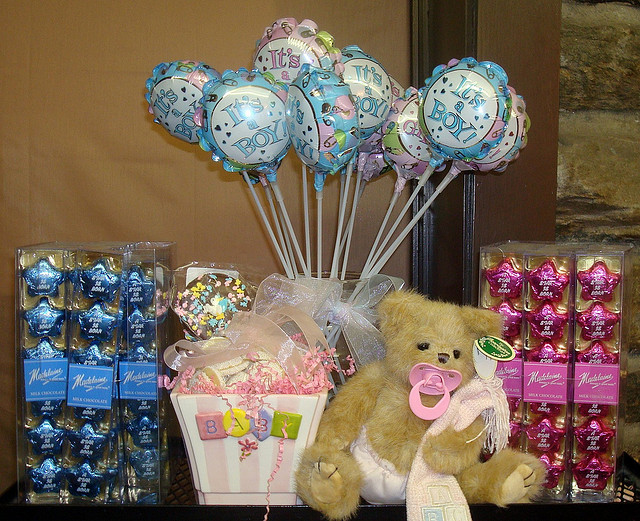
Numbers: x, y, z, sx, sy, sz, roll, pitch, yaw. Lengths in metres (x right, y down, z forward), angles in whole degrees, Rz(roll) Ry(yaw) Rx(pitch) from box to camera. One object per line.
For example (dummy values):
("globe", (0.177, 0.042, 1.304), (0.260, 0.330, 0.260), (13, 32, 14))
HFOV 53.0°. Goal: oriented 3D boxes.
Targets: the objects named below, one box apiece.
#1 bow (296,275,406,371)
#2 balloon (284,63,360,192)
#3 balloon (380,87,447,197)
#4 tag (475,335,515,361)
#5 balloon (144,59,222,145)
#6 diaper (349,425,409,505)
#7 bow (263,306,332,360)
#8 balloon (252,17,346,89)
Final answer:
("bow", (0.079, 0.116, 1.690), (0.250, 0.247, 0.223), (-1, 11, -12))
("balloon", (0.003, -0.339, 1.569), (0.180, 0.246, 0.104), (-3, 6, 2))
("balloon", (0.226, -0.325, 1.782), (0.127, 0.269, 0.152), (-9, 34, -42))
("tag", (0.394, 0.196, 1.460), (0.082, 0.045, 0.056), (-2, 7, 12))
("balloon", (-0.379, -0.437, 1.778), (0.213, 0.222, 0.144), (-16, 22, -41))
("diaper", (0.136, 0.499, 1.554), (0.121, 0.177, 0.069), (1, -3, -3))
("bow", (-0.052, 0.158, 1.584), (0.108, 0.162, 0.046), (-23, -20, -51))
("balloon", (-0.048, -0.578, 1.716), (0.186, 0.202, 0.120), (-12, 31, 29))
